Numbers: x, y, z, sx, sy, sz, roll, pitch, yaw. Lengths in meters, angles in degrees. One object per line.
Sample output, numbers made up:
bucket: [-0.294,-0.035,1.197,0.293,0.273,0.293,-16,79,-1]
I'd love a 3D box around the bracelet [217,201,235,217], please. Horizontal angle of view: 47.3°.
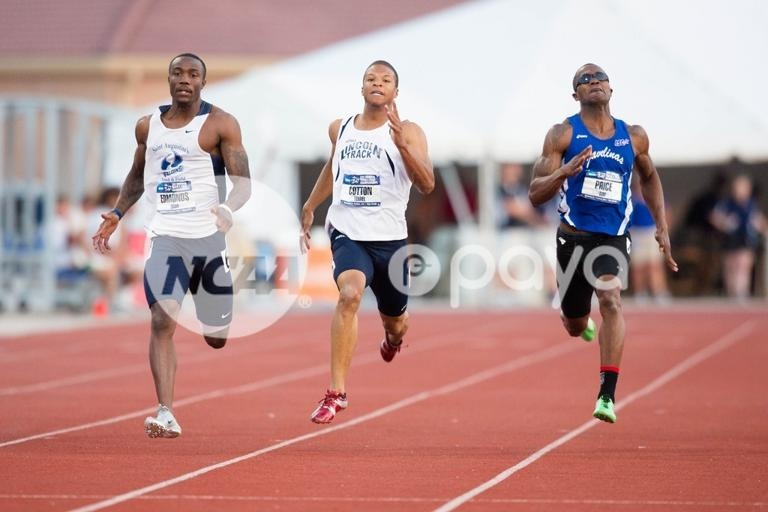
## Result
bracelet: [-1.201,-0.356,6.700,0.101,0.106,0.105,1,13,12]

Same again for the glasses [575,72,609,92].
glasses: [1.683,-1.436,7.131,0.237,0.124,0.090,3,3,10]

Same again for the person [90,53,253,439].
person: [-1.664,-0.116,6.876,1.109,2.939,0.840,4,3,31]

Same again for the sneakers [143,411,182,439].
sneakers: [-1.640,1.261,6.495,0.241,0.249,0.232,0,4,-24]

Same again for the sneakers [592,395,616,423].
sneakers: [1.679,1.166,6.667,0.138,0.188,0.215,3,4,19]

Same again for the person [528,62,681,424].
person: [1.744,-0.216,7.152,0.972,2.682,1.042,3,3,27]

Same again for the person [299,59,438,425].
person: [-0.141,-0.114,7.189,0.966,2.955,1.067,1,3,-14]

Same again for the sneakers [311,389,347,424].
sneakers: [-0.433,1.174,6.741,0.169,0.259,0.311,3,4,26]
